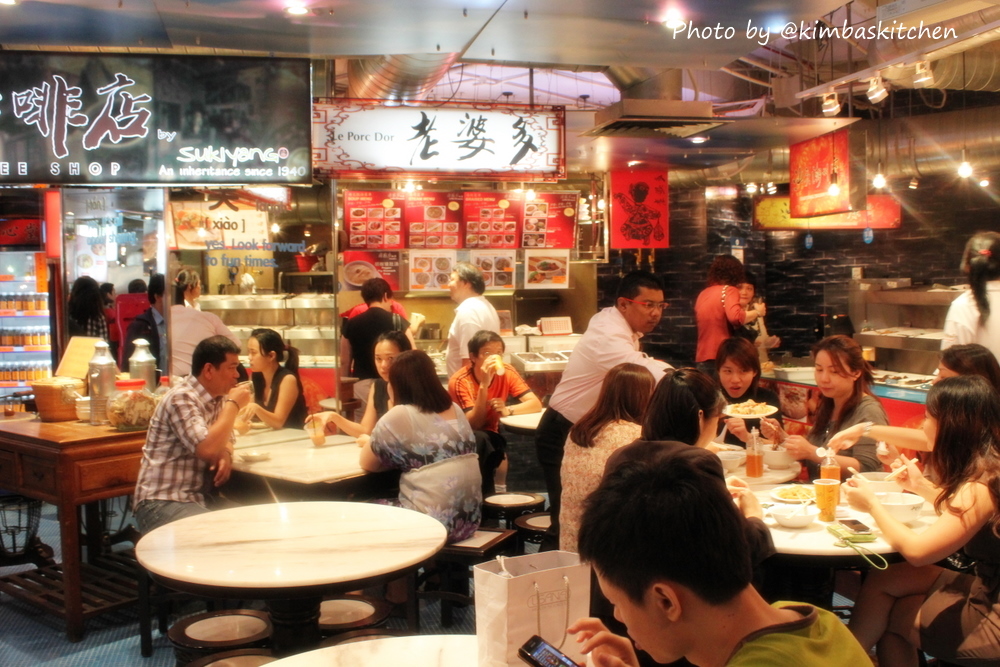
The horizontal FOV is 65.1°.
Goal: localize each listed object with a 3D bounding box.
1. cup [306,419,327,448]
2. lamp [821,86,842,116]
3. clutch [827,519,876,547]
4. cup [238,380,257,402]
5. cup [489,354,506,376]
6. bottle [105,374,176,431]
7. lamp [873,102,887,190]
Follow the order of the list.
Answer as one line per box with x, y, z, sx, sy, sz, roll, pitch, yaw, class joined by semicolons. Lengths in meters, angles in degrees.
-1.237;0.671;5.265;0.179;0.214;0.113;6;8;45;cup
2.815;-1.970;6.605;0.111;0.212;0.397;1;4;24;lamp
1.630;0.909;3.606;0.188;0.064;0.207;-1;4;-1;clutch
-1.528;0.354;4.785;0.089;0.133;0.137;-3;-8;-6;cup
-0.016;0.224;5.852;0.148;0.138;0.135;0;-9;-9;cup
-2.424;0.473;5.350;0.445;0.354;0.432;2;0;0;bottle
4.134;-1.979;8.450;0.126;0.770;0.396;1;5;26;lamp
